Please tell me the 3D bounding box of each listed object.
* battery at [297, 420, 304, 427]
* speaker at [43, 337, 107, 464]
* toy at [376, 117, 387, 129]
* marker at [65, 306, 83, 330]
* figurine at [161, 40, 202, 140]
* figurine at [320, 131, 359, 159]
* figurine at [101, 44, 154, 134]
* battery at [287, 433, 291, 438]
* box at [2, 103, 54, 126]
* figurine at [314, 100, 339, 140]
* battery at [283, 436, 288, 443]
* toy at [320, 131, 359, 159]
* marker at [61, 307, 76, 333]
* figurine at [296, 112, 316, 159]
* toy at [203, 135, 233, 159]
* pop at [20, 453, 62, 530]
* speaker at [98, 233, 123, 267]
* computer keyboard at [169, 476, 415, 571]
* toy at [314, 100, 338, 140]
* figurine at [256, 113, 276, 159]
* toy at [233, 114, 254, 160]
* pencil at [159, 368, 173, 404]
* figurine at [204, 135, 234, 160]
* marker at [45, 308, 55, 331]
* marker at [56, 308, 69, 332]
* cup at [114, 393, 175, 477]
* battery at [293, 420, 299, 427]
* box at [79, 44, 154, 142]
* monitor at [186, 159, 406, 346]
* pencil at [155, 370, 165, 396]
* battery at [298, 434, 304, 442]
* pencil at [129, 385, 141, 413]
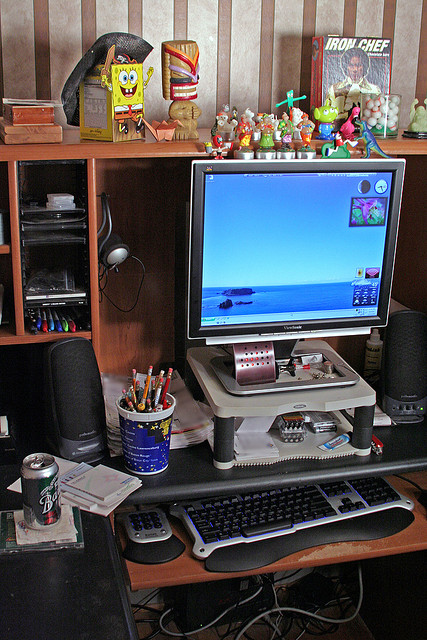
[{"bbox_3d":[0.196,0.232,1.133,0.010,0.015,0.005,-6,-2,-21],"label":"battery"},{"bbox_3d":[-0.286,0.157,1.073,0.108,0.249,0.149,-8,15,-14],"label":"speaker"},{"bbox_3d":[0.400,-0.470,1.212,0.023,0.028,0.024,1,5,7],"label":"toy"},{"bbox_3d":[-0.323,-0.003,1.173,0.025,0.020,0.121,-3,37,-23],"label":"marker"},{"bbox_3d":[-0.073,-0.502,1.120,0.073,0.189,0.080,13,29,25],"label":"figurine"},{"bbox_3d":[0.280,-0.388,1.130,0.080,0.061,0.022,-3,7,-16],"label":"figurine"},{"bbox_3d":[-0.176,-0.461,1.027,0.046,0.158,0.127,11,22,29],"label":"figurine"},{"bbox_3d":[0.169,0.260,1.130,0.009,0.009,0.005,1,7,0],"label":"battery"},{"bbox_3d":[-0.364,-0.384,0.949,0.122,0.040,0.063,10,21,24],"label":"box"},{"bbox_3d":[0.263,-0.463,1.186,0.055,0.080,0.044,-9,29,-8],"label":"figurine"},{"bbox_3d":[0.160,0.268,1.131,0.008,0.016,0.009,0,2,-26],"label":"battery"},{"bbox_3d":[0.275,-0.381,1.109,0.075,0.052,0.149,6,20,14],"label":"toy"},{"bbox_3d":[-0.329,0.003,1.141,0.010,0.016,0.099,22,14,-28],"label":"marker"},{"bbox_3d":[0.201,-0.397,1.095,0.041,0.090,0.039,-5,25,-3],"label":"figurine"},{"bbox_3d":[0.010,-0.361,1.062,0.065,0.057,0.020,-6,25,-1],"label":"toy"},{"bbox_3d":[-0.286,0.282,0.834,0.062,0.121,0.078,-6,20,-20],"label":"pop"},{"bbox_3d":[-0.231,-0.163,1.128,0.054,0.066,0.049,0,39,-18],"label":"speaker"},{"bbox_3d":[0.173,0.386,1.008,0.500,0.043,0.206,-6,21,-16],"label":"computer keyboard"},{"bbox_3d":[0.264,-0.462,1.186,0.057,0.079,0.047,-8,27,-9],"label":"toy"},{"bbox_3d":[0.112,-0.393,1.085,0.042,0.088,0.130,2,19,4],"label":"figurine"},{"bbox_3d":[0.065,-0.385,1.065,0.039,0.088,0.039,-14,30,-23],"label":"toy"},{"bbox_3d":[-0.098,0.139,1.051,0.011,0.093,0.011,17,-1,44],"label":"pencil"},{"bbox_3d":[0.011,-0.361,1.062,0.071,0.062,0.023,0,-3,-12],"label":"figurine"},{"bbox_3d":[-0.360,-0.003,1.124,0.016,0.013,0.120,-9,26,-8],"label":"marker"},{"bbox_3d":[-0.337,0.001,1.131,0.020,0.020,0.175,-3,23,-12],"label":"marker"},{"bbox_3d":[-0.129,0.218,1.079,0.128,0.146,0.132,0,21,0],"label":"cup"},{"bbox_3d":[0.184,0.231,1.128,0.009,0.014,0.003,-7,1,-18],"label":"battery"},{"bbox_3d":[-0.195,-0.439,1.012,0.127,0.188,0.093,-16,28,-40],"label":"box"},{"bbox_3d":[0.178,-0.141,1.093,0.486,0.390,0.038,-6,19,-17],"label":"monitor"},{"bbox_3d":[-0.115,0.130,1.039,0.011,0.061,0.008,11,14,-34],"label":"pencil"},{"bbox_3d":[0.196,0.264,1.136,0.010,0.020,0.020,4,19,5],"label":"battery"},{"bbox_3d":[-0.159,0.162,1.019,0.007,0.047,0.006,-19,-22,7],"label":"pencil"}]
